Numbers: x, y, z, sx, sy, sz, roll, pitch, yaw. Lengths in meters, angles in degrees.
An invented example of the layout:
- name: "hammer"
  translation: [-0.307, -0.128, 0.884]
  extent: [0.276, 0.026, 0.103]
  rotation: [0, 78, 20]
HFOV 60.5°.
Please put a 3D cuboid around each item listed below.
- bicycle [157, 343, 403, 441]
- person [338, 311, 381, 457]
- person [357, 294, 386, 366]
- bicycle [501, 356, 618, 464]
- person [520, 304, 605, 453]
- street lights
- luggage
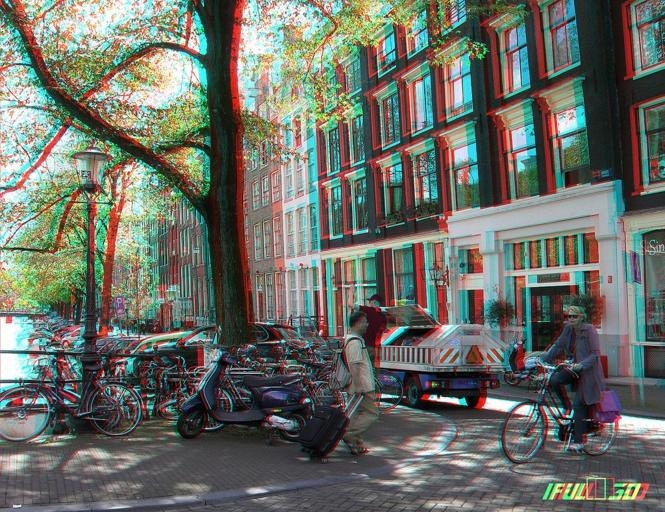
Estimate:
- name: "bicycle"
  translation: [-1.192, 2.164, 9.241]
  extent: [2.579, 1.593, 1.310]
  rotation: [2, -10, 2]
- name: "person"
  translation: [0.358, 1.733, 7.870]
  extent: [0.449, 1.866, 0.687]
  rotation: [0, -3, 7]
- name: "person"
  translation: [0.905, 1.538, 12.460]
  extent: [0.465, 1.620, 0.573]
  rotation: [-1, 1, -23]
- name: "bicycle"
  translation: [2.852, 1.960, 7.193]
  extent: [1.812, 1.306, 0.478]
  rotation: [1, 2, -26]
- name: "person"
  translation: [3.168, 1.564, 7.511]
  extent: [0.974, 1.785, 0.701]
  rotation: [8, -8, -18]
- name: "street lights"
  translation: [-4.001, 0.214, 9.627]
  extent: [0.483, 5.331, 0.678]
  rotation: [-2, 1, -38]
- name: "luggage"
  translation: [-0.047, 2.245, 7.476]
  extent: [0.777, 0.778, 0.492]
  rotation: [1, 2, 2]
